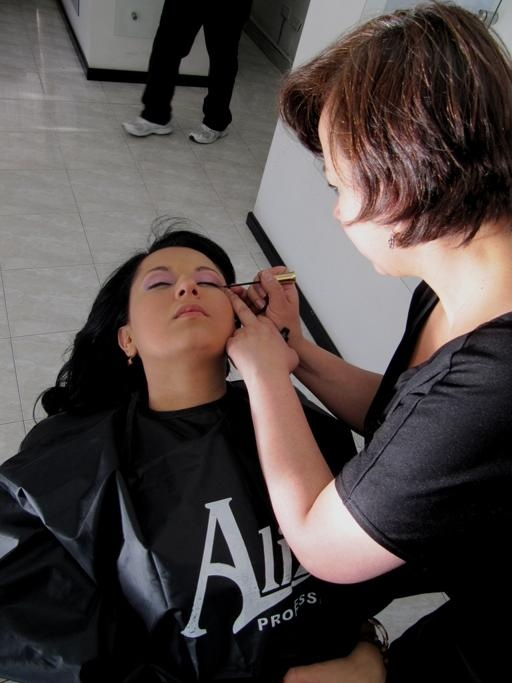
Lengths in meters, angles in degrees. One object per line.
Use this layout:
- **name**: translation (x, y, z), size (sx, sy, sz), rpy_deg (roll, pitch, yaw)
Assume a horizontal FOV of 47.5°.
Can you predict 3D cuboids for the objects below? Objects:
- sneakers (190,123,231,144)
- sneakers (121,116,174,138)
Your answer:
- **sneakers**: translation (-0.259, -1.201, 3.337), size (0.228, 0.092, 0.102), rpy_deg (-17, 48, -31)
- **sneakers**: translation (-0.614, -1.201, 3.219), size (0.306, 0.125, 0.106), rpy_deg (-11, 63, -18)
